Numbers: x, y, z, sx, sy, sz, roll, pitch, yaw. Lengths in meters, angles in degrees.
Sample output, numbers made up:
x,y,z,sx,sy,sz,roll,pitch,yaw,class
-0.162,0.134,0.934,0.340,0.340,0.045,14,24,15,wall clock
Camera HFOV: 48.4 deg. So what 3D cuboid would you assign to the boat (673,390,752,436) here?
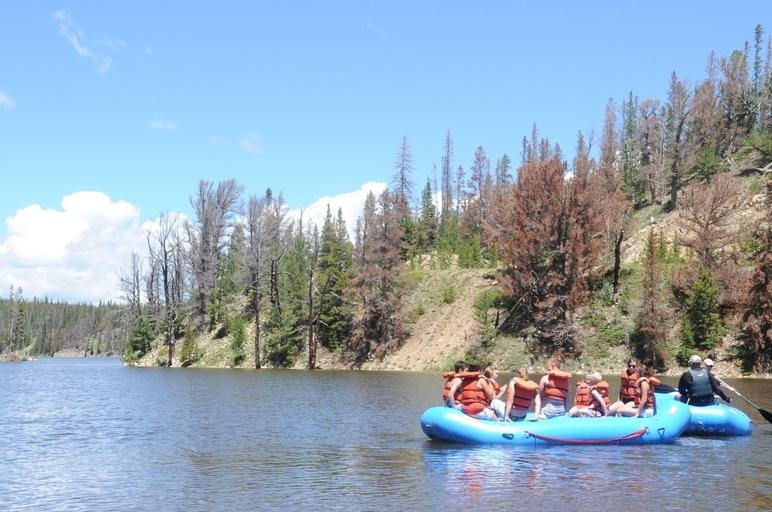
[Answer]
x,y,z,sx,sy,sz,roll,pitch,yaw,class
20.025,10.329,53.259,2.860,2.320,4.324,-5,-5,-19,boat
